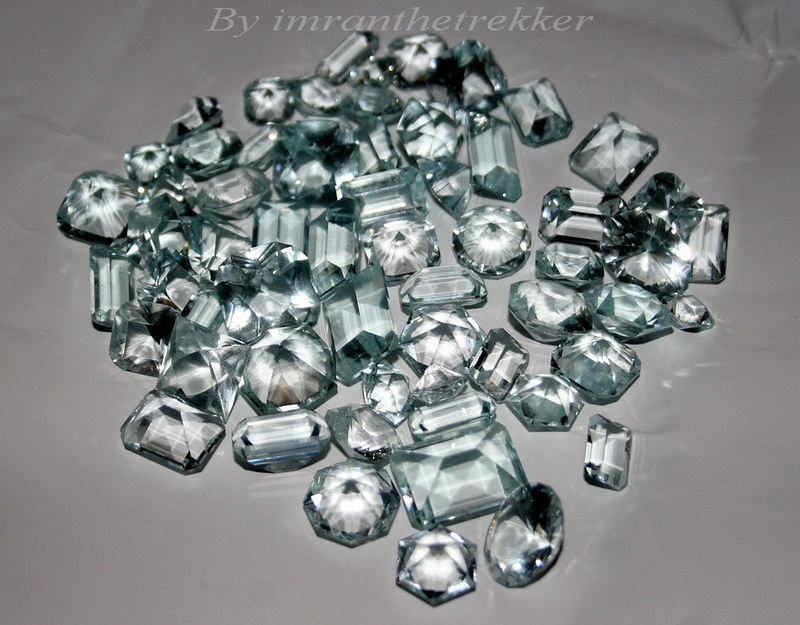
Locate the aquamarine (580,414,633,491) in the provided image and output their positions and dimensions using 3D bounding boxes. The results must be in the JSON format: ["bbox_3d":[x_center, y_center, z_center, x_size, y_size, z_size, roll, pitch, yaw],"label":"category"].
[{"bbox_3d":[0.305,0.199,1.272,0.073,0.027,0.100,5,86,11],"label":"aquamarine"}]

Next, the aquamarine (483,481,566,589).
[{"bbox_3d":[0.174,0.300,1.256,0.113,0.154,0.043,14,17,-12],"label":"aquamarine"}]

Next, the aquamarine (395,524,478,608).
[{"bbox_3d":[0.053,0.356,1.247,0.110,0.067,0.080,0,48,1],"label":"aquamarine"}]

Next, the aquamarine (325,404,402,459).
[{"bbox_3d":[-0.056,0.172,1.283,0.064,0.038,0.100,-35,58,-27],"label":"aquamarine"}]

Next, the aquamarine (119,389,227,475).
[{"bbox_3d":[-0.335,0.175,1.291,0.161,0.058,0.114,24,86,1],"label":"aquamarine"}]

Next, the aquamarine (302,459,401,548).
[{"bbox_3d":[-0.069,0.278,1.279,0.135,0.098,0.097,8,49,9],"label":"aquamarine"}]

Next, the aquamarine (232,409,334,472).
[{"bbox_3d":[-0.172,0.186,1.281,0.128,0.064,0.084,-4,91,-4],"label":"aquamarine"}]

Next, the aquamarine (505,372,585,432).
[{"bbox_3d":[0.214,0.133,1.309,0.093,0.047,0.084,38,69,19],"label":"aquamarine"}]
